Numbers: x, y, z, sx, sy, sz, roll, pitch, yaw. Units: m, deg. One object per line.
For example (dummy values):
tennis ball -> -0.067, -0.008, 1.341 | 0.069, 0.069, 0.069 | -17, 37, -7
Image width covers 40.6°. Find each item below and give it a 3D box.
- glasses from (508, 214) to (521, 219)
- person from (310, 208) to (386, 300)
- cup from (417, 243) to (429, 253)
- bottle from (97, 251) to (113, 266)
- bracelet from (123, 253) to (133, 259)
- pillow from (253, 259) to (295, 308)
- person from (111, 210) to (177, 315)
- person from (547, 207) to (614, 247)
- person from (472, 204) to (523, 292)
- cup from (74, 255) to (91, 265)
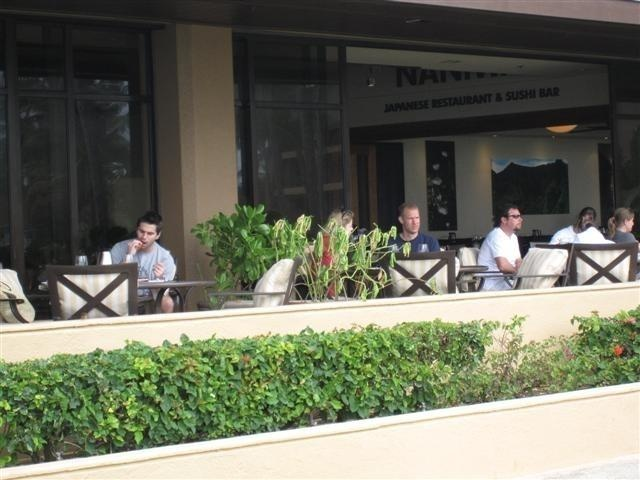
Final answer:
glasses -> 2.121, -0.256, 9.313 | 0.063, 0.048, 0.166 | 4, 6, 41
person -> 0.234, 0.175, 8.006 | 0.793, 0.815, 0.788 | 1, 7, -18
cup -> 1.091, 0.081, 9.028 | 0.092, 0.113, 0.101 | -1, -1, 0
bottle -> -1.973, 0.172, 7.903 | 0.119, 0.128, 0.128 | 1, -7, -9
bracelet -> -1.902, 0.161, 8.519 | 0.059, 0.049, 0.083 | 2, -2, 1
pillow -> -0.421, 0.389, 7.819 | 0.378, 0.421, 0.282 | -1, 4, -7
person -> -1.759, 0.338, 8.647 | 0.615, 1.160, 0.783 | 0, 16, -27
person -> 3.271, -0.139, 10.980 | 0.547, 0.538, 0.745 | 3, -8, -14
person -> 2.046, 0.201, 9.443 | 0.580, 1.123, 0.511 | 0, 1, 39
cup -> -2.188, 0.190, 7.941 | 0.128, 0.129, 0.127 | 0, -5, 0
